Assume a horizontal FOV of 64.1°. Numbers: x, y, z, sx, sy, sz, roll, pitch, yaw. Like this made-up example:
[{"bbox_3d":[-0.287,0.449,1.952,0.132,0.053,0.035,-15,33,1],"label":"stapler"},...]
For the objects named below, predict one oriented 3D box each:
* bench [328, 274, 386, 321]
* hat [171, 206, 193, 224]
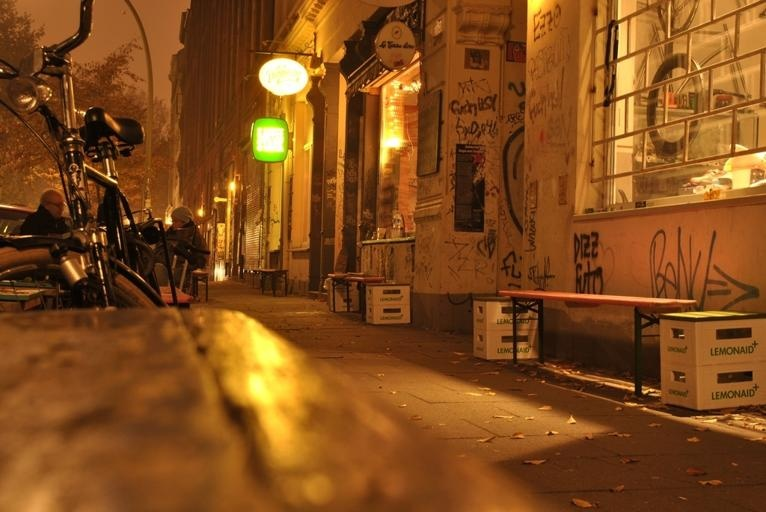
[{"bbox_3d":[-0.715,1.114,14.776,0.872,0.850,1.651,2,-4,-15],"label":"bench"},{"bbox_3d":[-2.736,-0.550,8.216,0.240,0.284,0.322,8,14,13],"label":"hat"}]
